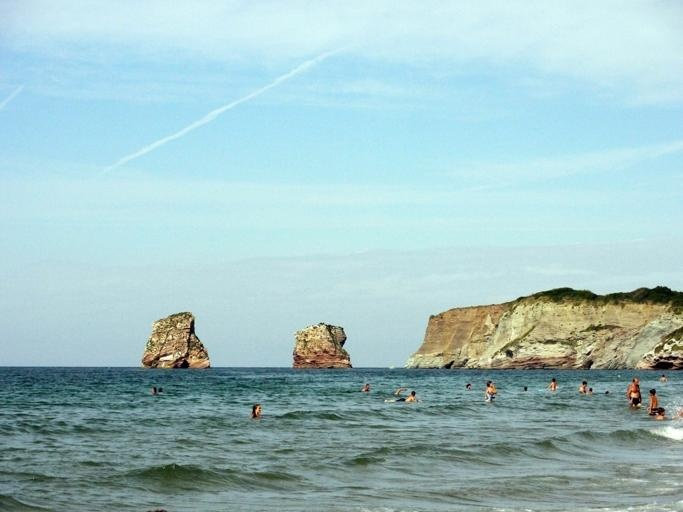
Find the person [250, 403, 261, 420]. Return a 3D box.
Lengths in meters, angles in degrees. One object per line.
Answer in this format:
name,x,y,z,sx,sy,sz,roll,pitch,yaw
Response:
person,-5.819,10.268,73.143,0.647,0.754,1.299,1,-1,-6
